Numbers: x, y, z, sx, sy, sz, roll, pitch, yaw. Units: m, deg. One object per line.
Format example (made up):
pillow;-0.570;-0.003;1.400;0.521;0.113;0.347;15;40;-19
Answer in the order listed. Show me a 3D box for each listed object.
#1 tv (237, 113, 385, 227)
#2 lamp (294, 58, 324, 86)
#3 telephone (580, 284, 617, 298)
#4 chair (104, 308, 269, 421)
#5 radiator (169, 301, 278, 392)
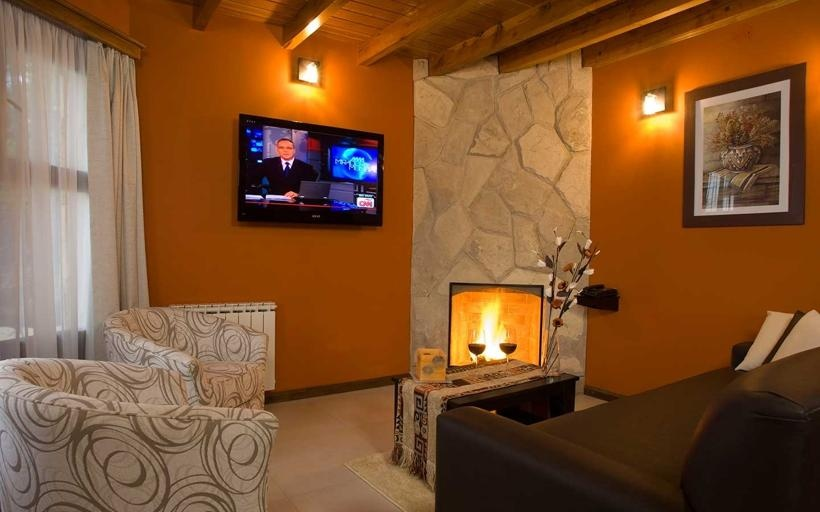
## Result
tv;-0.931;-0.757;5.156;1.187;0.751;0.050;1;3;-27
lamp;-0.915;-1.671;5.224;0.253;0.219;0.059;5;7;-26
telephone;1.798;0.332;5.434;0.319;0.094;0.174;-8;14;-23
chair;-1.543;0.702;4.142;0.931;0.798;0.952;-5;-11;18
radiator;-1.432;0.679;4.349;0.849;0.743;0.085;1;1;-37
